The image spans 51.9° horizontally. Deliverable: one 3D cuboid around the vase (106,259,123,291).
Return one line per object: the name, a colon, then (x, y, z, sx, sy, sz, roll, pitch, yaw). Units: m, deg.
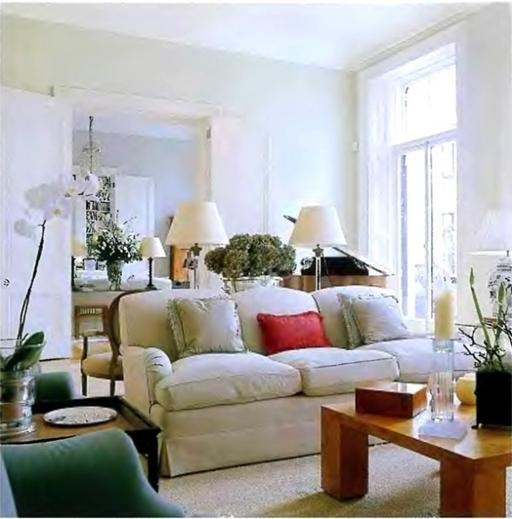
vase: (-1.647, 0.175, 6.135, 0.239, 0.427, 0.256, 0, -3, -2)

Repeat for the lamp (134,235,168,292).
lamp: (-1.324, 0.049, 6.627, 0.312, 0.654, 0.335, -2, -2, 20)

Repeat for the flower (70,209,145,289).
flower: (-1.696, -0.110, 6.218, 0.642, 0.984, 0.702, 1, -2, -17)

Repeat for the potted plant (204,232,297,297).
potted plant: (0.009, 0.041, 4.081, 0.617, 0.586, 0.658, -7, -9, 5)

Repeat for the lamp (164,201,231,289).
lamp: (-0.426, -0.029, 3.727, 0.364, 0.831, 0.383, 1, 20, -2)

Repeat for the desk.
desk: (-1.753, 0.344, 6.010, 0.804, 0.523, 0.285, 0, 8, -2)

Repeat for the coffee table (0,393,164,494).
coffee table: (-0.541, 0.547, 1.791, 0.405, 0.298, 0.419, 0, 1, 3)
